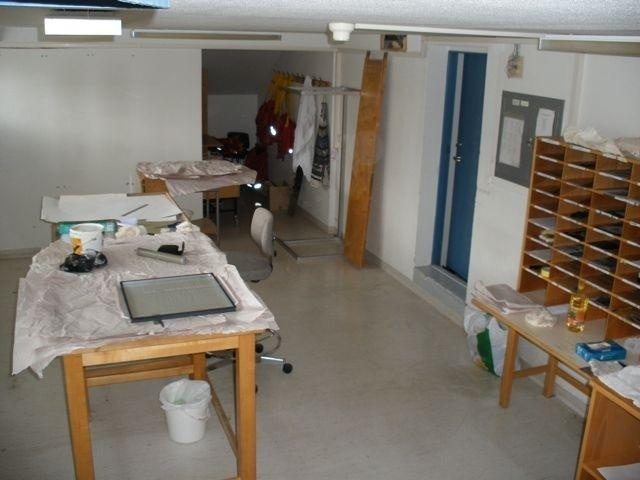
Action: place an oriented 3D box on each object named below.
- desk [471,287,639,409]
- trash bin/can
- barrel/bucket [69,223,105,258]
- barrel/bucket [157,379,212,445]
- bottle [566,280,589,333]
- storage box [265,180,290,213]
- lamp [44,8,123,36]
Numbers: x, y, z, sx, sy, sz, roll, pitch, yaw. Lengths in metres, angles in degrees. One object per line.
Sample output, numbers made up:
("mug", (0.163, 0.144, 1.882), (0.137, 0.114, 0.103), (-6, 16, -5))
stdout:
("desk", (1.589, 0.721, 3.262), (0.429, 0.428, 0.884), (-4, 23, -11))
("trash bin/can", (-0.865, 1.136, 3.382), (0.394, 0.350, 0.408), (3, 8, 5))
("barrel/bucket", (-1.445, -0.005, 2.995), (0.198, 0.164, 0.212), (2, 7, 0))
("barrel/bucket", (-0.857, 1.155, 3.322), (0.392, 0.351, 0.409), (2, 7, 0))
("bottle", (1.658, 0.419, 3.103), (0.101, 0.290, 0.193), (11, 24, 29))
("storage box", (-0.720, -0.725, 8.498), (0.412, 0.556, 0.571), (-2, 19, -14))
("lamp", (-0.386, -0.351, 0.797), (0.119, 0.026, 0.056), (-13, 23, -30))
